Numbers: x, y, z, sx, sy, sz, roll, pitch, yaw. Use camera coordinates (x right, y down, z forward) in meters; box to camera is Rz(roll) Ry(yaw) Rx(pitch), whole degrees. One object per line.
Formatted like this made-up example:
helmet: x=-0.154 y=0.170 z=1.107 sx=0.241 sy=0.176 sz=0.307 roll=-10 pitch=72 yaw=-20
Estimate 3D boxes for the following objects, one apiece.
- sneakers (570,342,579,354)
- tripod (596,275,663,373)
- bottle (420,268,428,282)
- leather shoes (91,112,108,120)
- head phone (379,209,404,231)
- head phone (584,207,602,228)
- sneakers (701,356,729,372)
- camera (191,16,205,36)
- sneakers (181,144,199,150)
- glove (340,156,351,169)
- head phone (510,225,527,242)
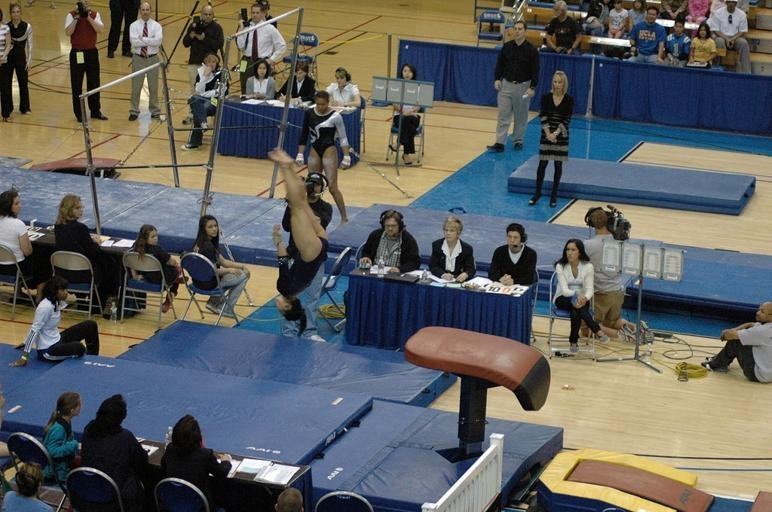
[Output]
sneakers: x=2.374 y=1.171 z=11.562 sx=0.079 sy=0.071 sz=0.170 roll=-2 pitch=7 yaw=7
tripod: x=3.135 y=0.925 z=11.872 sx=0.828 sy=1.004 sz=0.806 roll=12 pitch=26 yaw=31
bottle: x=0.471 y=0.260 z=11.581 sx=0.110 sy=0.122 sz=0.109 roll=-1 pitch=18 yaw=0
leather shoes: x=-5.805 y=-2.824 z=18.474 sx=0.380 sy=0.158 sz=0.136 roll=3 pitch=10 yaw=4
head phone: x=0.057 y=-0.458 z=11.965 sx=0.396 sy=0.328 sz=0.141 roll=6 pitch=20 yaw=15
head phone: x=2.729 y=-0.501 z=12.084 sx=0.222 sy=0.189 sz=0.296 roll=0 pitch=1 yaw=-1
sneakers: x=4.061 y=1.365 z=11.342 sx=0.315 sy=0.141 sz=0.154 roll=12 pitch=18 yaw=22
camera: x=-3.788 y=-4.642 z=18.380 sx=0.255 sy=0.332 sz=0.121 roll=1 pitch=-9 yaw=-6
sneakers: x=-3.751 y=-2.051 z=17.340 sx=0.311 sy=0.130 sz=0.103 roll=4 pitch=4 yaw=-12
glove: x=-0.758 y=-1.726 z=16.805 sx=0.230 sy=0.223 sz=0.165 roll=2 pitch=40 yaw=-5
head phone: x=1.679 y=-0.279 z=11.650 sx=0.181 sy=0.179 sz=0.239 roll=7 pitch=-17 yaw=31
